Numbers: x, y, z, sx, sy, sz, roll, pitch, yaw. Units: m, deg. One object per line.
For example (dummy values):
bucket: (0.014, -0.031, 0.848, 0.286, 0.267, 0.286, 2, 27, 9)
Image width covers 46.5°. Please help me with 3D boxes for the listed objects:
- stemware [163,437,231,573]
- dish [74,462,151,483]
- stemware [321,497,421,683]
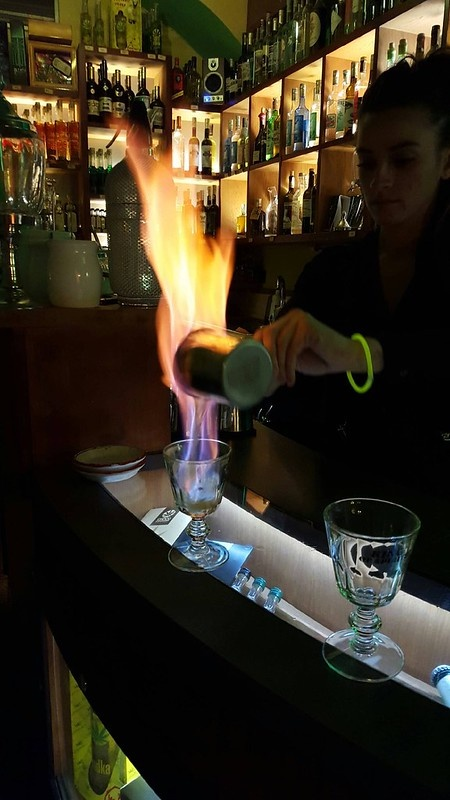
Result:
stemware: (-0.033, 0.119, 0.601, 0.074, 0.140, 0.126, 0, 8, -12)
dish: (-0.178, 0.109, 0.820, 0.108, 0.032, 0.072, -1, 9, -18)
stemware: (0.120, 0.158, 0.446, 0.066, 0.129, 0.072, -3, 12, -22)
